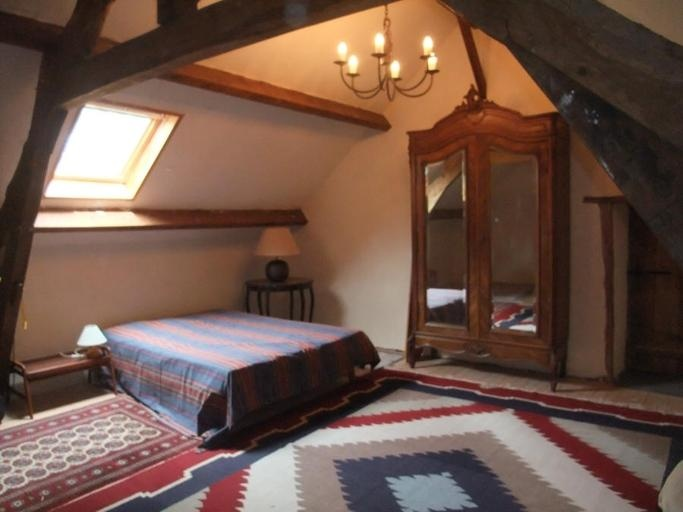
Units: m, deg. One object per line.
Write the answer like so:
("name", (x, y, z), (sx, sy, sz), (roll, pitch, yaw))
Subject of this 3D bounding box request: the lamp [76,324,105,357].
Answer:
("lamp", (-1.983, 0.667, 4.067), (0.189, 0.201, 0.193), (9, 14, 30))

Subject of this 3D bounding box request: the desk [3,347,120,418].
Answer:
("desk", (-2.141, 0.773, 3.909), (0.443, 0.447, 0.676), (1, 3, 42))

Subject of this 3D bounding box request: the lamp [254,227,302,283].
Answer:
("lamp", (-0.667, -0.028, 5.510), (0.417, 0.571, 0.599), (-1, 9, 1))

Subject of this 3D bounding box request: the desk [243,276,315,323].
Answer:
("desk", (-0.632, 0.410, 5.573), (0.576, 0.637, 0.573), (-2, 2, -25))
